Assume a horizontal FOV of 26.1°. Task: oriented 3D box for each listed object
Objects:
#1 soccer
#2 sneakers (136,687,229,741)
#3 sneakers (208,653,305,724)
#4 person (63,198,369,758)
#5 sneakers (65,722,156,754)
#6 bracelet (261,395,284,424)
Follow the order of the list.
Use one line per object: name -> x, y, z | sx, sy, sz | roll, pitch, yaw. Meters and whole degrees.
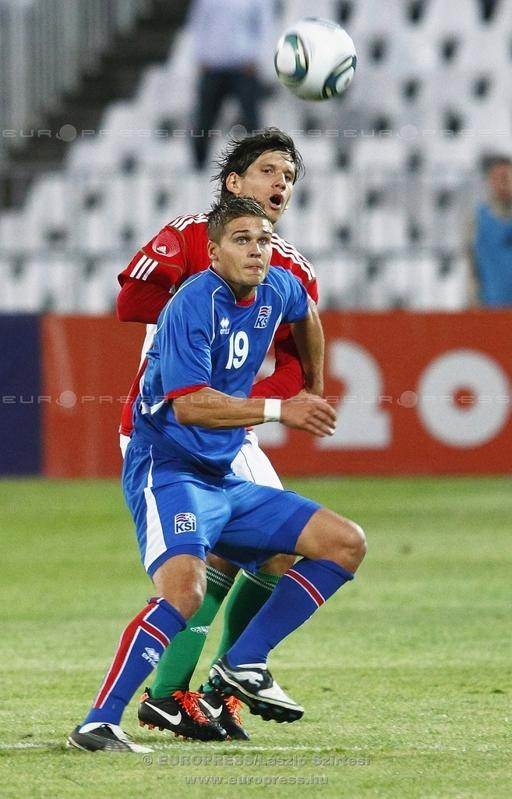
soccer -> 0.165, -1.316, 4.291 | 0.356, 0.337, 0.311 | -3, 26, -15
sneakers -> -0.226, 0.955, 3.351 | 0.294, 0.127, 0.102 | 5, -11, 26
sneakers -> 0.003, 0.844, 3.258 | 0.316, 0.140, 0.100 | 28, -29, -15
person -> -0.113, 0.192, 3.302 | 0.941, 1.580, 0.615 | 0, -2, -28
sneakers -> -0.398, 0.925, 3.047 | 0.253, 0.085, 0.080 | 1, 2, -5
bracelet -> 0.048, 0.028, 3.147 | 0.054, 0.065, 0.122 | -1, -2, 0
